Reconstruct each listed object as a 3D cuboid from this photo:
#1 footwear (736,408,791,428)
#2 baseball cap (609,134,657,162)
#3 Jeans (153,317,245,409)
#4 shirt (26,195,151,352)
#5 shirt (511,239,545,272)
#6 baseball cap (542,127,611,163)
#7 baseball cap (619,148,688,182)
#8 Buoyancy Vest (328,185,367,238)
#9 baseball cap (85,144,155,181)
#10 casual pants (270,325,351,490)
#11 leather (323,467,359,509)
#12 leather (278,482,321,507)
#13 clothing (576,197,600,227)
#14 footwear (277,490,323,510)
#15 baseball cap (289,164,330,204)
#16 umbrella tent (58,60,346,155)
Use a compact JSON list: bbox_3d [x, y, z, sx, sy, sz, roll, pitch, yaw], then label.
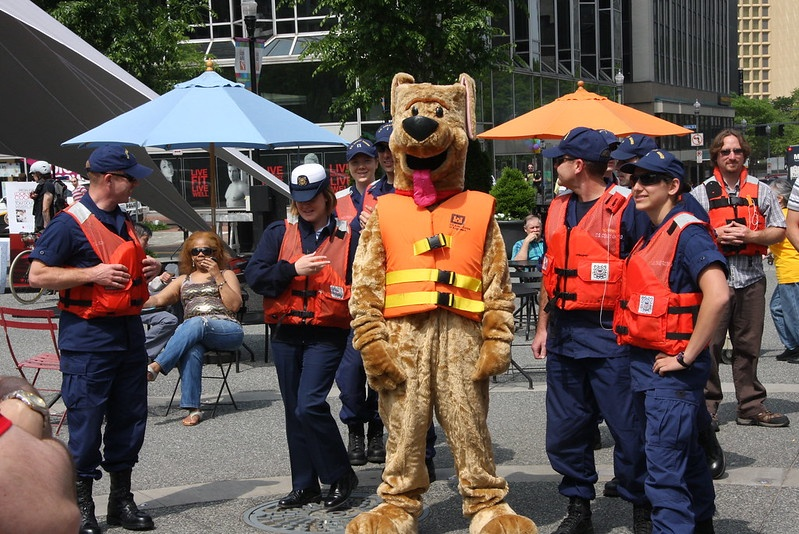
[{"bbox_3d":[3.756,1.546,11.705,0.537,0.232,0.196,-2,0,14],"label":"footwear"},{"bbox_3d":[1.970,-1.022,9.545,0.336,0.154,0.223,-9,11,-2],"label":"baseball cap"},{"bbox_3d":[-2.225,1.051,12.691,0.885,1.022,0.460,-9,11,-44],"label":"Jeans"},{"bbox_3d":[-2.718,0.044,9.866,0.927,1.358,0.441,-3,8,-16],"label":"shirt"},{"bbox_3d":[1.715,-0.166,15.039,0.518,0.494,0.310,1,-7,1],"label":"shirt"},{"bbox_3d":[1.572,-1.082,9.884,0.502,0.227,0.304,-1,9,16],"label":"baseball cap"},{"bbox_3d":[2.063,-0.832,9.147,0.418,0.189,0.261,4,3,-11],"label":"baseball cap"},{"bbox_3d":[-0.589,-0.640,11.663,0.443,0.427,0.188,-7,-14,32],"label":"Buoyancy Vest"},{"bbox_3d":[-2.458,-0.937,9.932,0.537,0.176,0.320,0,18,-22],"label":"baseball cap"},{"bbox_3d":[-0.791,1.256,10.127,0.655,1.456,0.430,-2,8,-4],"label":"casual pants"},{"bbox_3d":[-0.521,1.972,10.193,0.167,0.214,0.478,11,24,28],"label":"leather"},{"bbox_3d":[-0.884,2.065,10.210,0.431,0.168,0.149,1,1,-20],"label":"leather"},{"bbox_3d":[1.617,-0.493,9.847,0.084,0.218,0.170,-3,28,-42],"label":"clothing"},{"bbox_3d":[-0.897,2.082,10.128,0.460,0.178,0.142,3,0,-16],"label":"footwear"},{"bbox_3d":[-0.814,-0.759,10.178,0.345,0.343,0.269,-2,8,-5],"label":"baseball cap"},{"bbox_3d":[-3.090,-2.583,17.806,4.940,1.381,4.597,-1,8,-3],"label":"umbrella tent"}]
